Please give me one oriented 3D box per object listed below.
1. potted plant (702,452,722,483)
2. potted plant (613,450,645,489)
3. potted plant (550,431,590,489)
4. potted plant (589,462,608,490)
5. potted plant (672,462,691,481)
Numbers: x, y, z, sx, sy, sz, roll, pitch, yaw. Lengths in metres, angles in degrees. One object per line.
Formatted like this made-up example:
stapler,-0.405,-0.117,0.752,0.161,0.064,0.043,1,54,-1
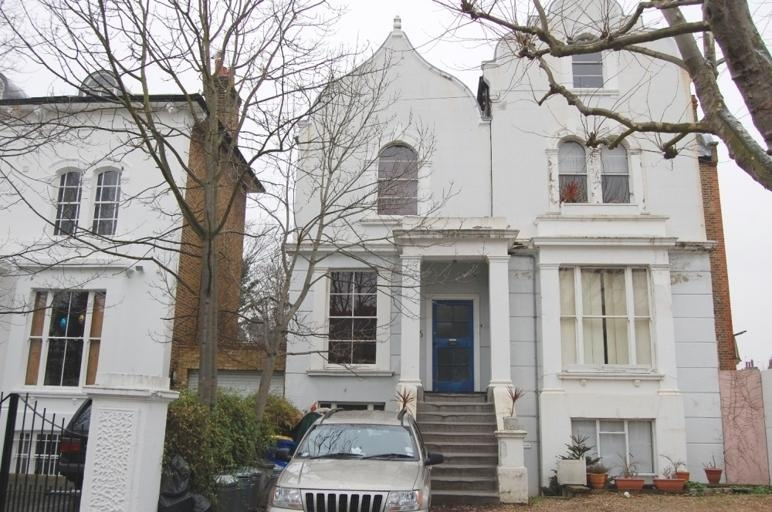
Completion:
potted plant,9.504,6.175,23.320,0.566,0.841,0.659,-2,-15,8
potted plant,6.897,6.285,22.959,0.670,0.971,0.621,4,-23,0
potted plant,5.218,5.825,22.873,1.119,1.436,0.931,1,-14,-2
potted plant,5.888,6.139,22.529,0.637,0.716,0.604,6,-17,-17
potted plant,8.373,6.114,22.954,0.517,0.395,0.527,3,-17,-2
